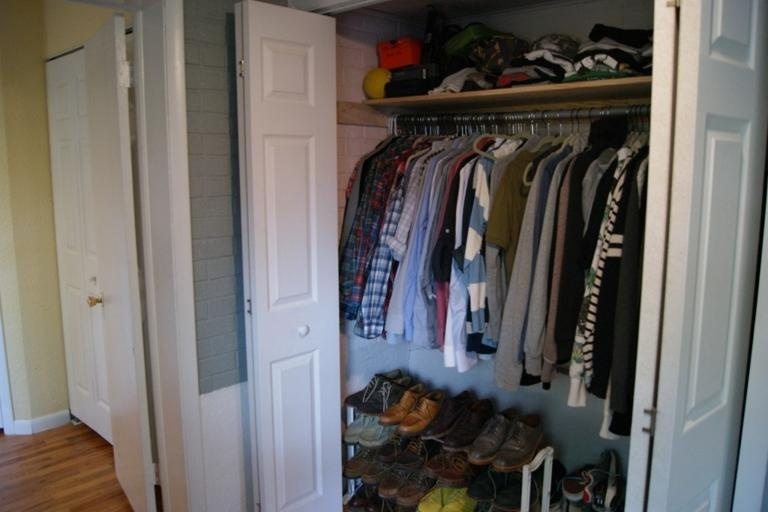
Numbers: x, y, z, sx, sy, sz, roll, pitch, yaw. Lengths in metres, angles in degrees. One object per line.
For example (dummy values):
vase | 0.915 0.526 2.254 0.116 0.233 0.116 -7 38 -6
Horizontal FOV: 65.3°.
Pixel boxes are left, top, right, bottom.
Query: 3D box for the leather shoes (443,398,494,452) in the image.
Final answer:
leather shoes | 0.471 0.946 3.375 0.129 0.133 0.384 4 19 36

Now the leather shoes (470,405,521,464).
leather shoes | 0.593 0.962 3.296 0.142 0.156 0.434 8 26 38

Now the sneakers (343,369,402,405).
sneakers | -0.044 0.758 3.619 0.361 0.130 0.130 -15 15 -34
